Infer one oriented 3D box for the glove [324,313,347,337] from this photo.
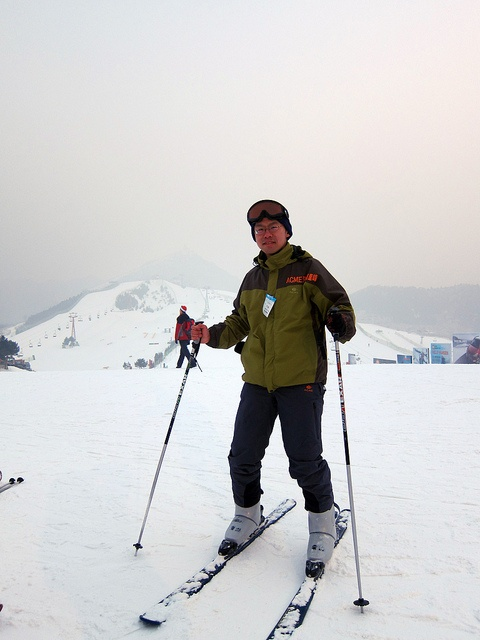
[{"bbox_3d":[0.394,0.018,2.325,0.036,0.097,0.072,-6,14,-42],"label":"glove"}]
